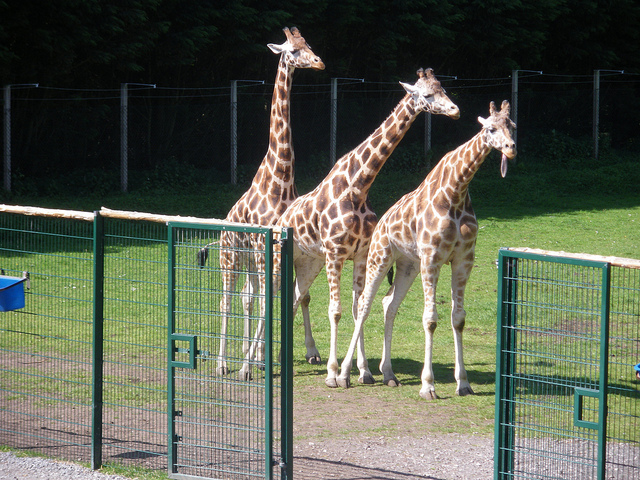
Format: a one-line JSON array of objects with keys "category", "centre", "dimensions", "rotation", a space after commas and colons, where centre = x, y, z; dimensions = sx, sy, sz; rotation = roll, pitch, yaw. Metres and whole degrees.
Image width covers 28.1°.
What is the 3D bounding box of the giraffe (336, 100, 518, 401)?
[{"category": "giraffe", "centre": [1.653, 0.060, 19.140], "dimensions": [2.291, 4.282, 1.248], "rotation": [3, 13, 10]}]
